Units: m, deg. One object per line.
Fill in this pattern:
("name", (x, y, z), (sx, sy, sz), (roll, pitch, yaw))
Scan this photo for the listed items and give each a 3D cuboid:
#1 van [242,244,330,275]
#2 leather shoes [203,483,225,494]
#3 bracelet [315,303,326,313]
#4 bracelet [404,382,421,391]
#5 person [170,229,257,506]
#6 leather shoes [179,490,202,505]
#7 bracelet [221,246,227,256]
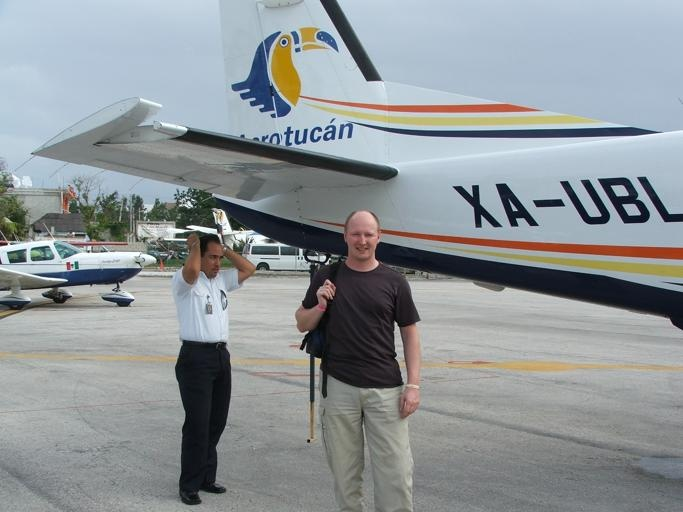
("van", (-3.318, 0.120, 36.083), (5.755, 1.588, 2.500), (-1, 1, -3))
("leather shoes", (-1.035, 1.901, 4.616), (0.249, 0.072, 0.069), (0, -1, 2))
("bracelet", (-0.138, 0.337, 3.709), (0.076, 0.037, 0.062), (3, 2, -10))
("bracelet", (0.454, 0.843, 3.656), (0.092, 0.025, 0.075), (2, -7, 25))
("person", (-1.100, 0.877, 4.686), (0.363, 1.845, 0.644), (-3, -1, 32))
("leather shoes", (-1.182, 1.899, 4.428), (0.084, 0.062, 0.188), (11, -14, -42))
("bracelet", (-0.982, -0.039, 4.751), (0.035, 0.061, 0.056), (7, -1, 2))
